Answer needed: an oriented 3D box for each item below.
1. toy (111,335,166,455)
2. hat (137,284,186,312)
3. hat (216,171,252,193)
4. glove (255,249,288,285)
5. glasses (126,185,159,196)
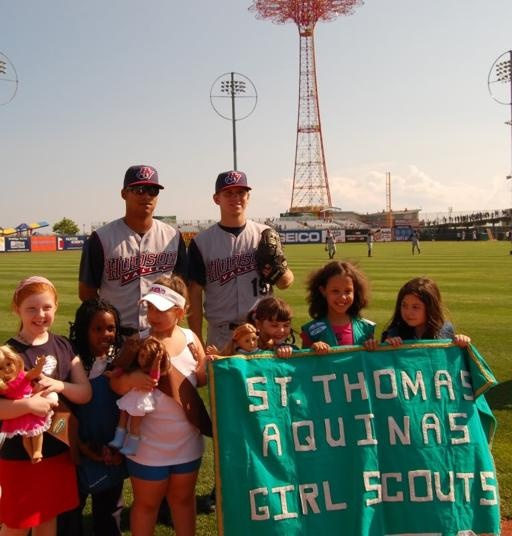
[{"bbox_3d":[-0.628,0.657,2.807,0.279,0.585,0.209,1,4,36],"label":"toy"},{"bbox_3d":[-0.493,0.168,2.947,0.137,0.071,0.189,10,-5,28],"label":"hat"},{"bbox_3d":[-0.176,-0.618,3.894,0.192,0.153,0.228,-3,4,-39],"label":"hat"},{"bbox_3d":[0.108,-0.012,3.945,0.207,0.166,0.243,5,14,-18],"label":"glove"},{"bbox_3d":[-0.759,-0.521,3.694,0.206,0.073,0.080,-2,3,-14],"label":"glasses"}]
